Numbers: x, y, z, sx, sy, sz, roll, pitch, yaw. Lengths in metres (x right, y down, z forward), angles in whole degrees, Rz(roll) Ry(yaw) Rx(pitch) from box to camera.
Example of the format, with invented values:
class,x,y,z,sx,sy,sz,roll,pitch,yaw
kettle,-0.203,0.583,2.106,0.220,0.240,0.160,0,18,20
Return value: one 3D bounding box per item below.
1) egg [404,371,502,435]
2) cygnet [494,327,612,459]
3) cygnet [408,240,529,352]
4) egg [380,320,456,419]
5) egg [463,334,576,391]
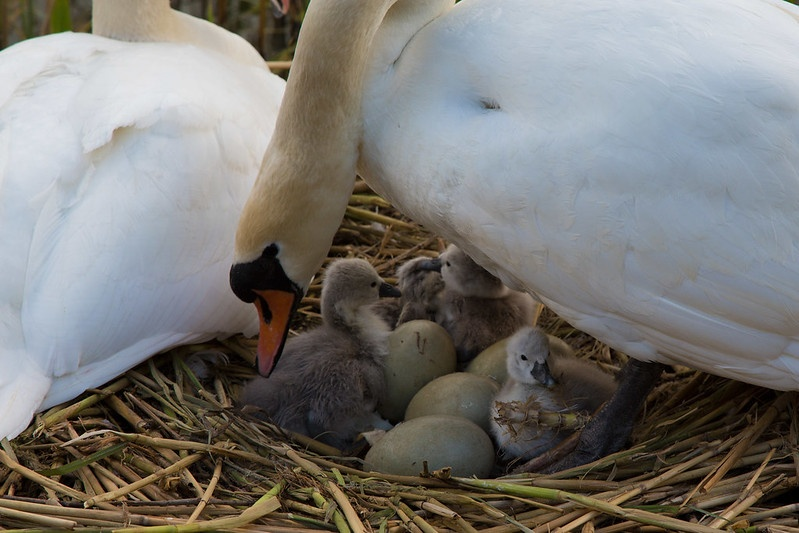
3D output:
class,x,y,z,sx,sy,sz,roll,pitch,yaw
egg,0.184,0.413,3.251,0.249,0.171,0.168,-33,63,-16
cygnet,0.529,0.393,3.353,0.372,0.344,0.527,-7,9,30
cygnet,0.256,0.147,3.579,0.475,0.293,0.287,18,63,9
egg,0.073,0.296,3.442,0.192,0.193,0.162,-15,16,16
egg,0.384,0.302,3.381,0.297,0.169,0.147,-21,72,-4
